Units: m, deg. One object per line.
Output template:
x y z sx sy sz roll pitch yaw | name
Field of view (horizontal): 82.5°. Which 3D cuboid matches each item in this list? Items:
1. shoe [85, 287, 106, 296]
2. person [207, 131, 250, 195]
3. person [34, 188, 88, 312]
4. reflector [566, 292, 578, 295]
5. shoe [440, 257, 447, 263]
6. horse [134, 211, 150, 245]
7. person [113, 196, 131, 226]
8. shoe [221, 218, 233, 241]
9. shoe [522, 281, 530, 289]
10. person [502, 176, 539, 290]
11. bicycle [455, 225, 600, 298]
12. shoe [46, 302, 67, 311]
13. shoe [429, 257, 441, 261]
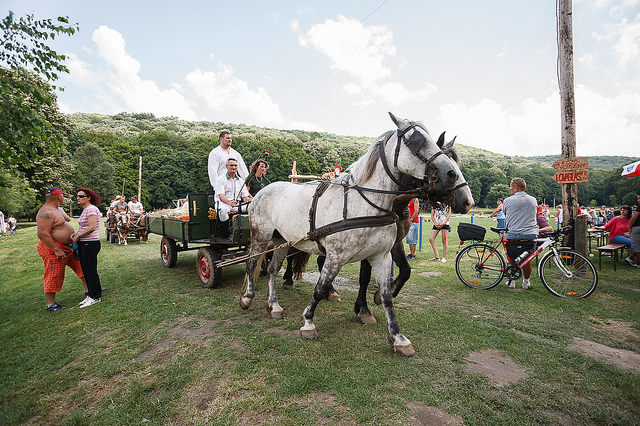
-4.960 1.736 8.020 0.207 0.247 0.598 1 -11 -8 | shoe
-2.268 -1.157 9.039 1.033 1.716 0.634 -7 13 -28 | person
-5.505 0.757 7.720 0.590 2.529 0.745 5 11 36 | person
5.373 1.718 7.818 0.224 0.037 0.118 -2 8 -4 | reflector
3.654 1.383 10.809 0.146 0.146 0.361 2 9 23 | shoe
-7.807 0.813 16.056 0.499 1.027 1.973 -4 2 -25 | horse
-8.313 -0.069 15.276 0.598 1.150 1.388 -7 10 -30 | person
-2.127 0.363 8.361 0.226 0.460 0.725 -4 9 -17 | shoe
4.695 1.651 8.345 0.159 0.144 0.130 5 -2 24 | shoe
4.593 0.471 8.525 0.957 2.497 0.819 -1 3 -12 | person
4.588 1.111 8.270 2.888 1.529 1.395 3 -11 20 | bicycle
-5.471 1.978 7.632 0.435 0.186 0.139 1 -2 -4 | shoe
3.458 1.382 10.987 0.313 0.090 0.212 1 8 20 | shoe
